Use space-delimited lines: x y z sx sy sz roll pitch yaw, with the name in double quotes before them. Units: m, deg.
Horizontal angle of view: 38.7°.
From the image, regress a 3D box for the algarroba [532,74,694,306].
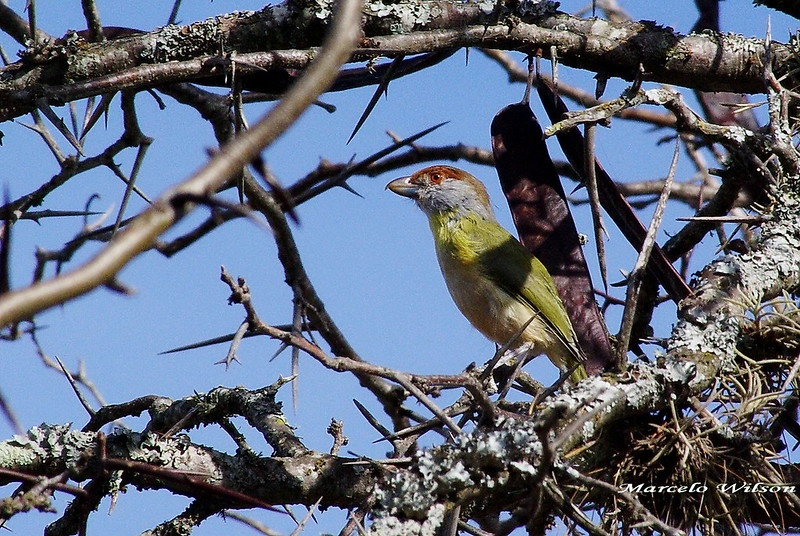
"algarroba" 1.089 -0.359 6.144 0.143 1.795 0.185 -38 1 -40
